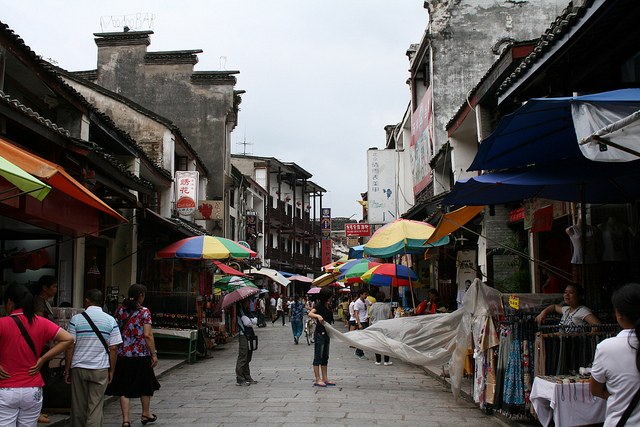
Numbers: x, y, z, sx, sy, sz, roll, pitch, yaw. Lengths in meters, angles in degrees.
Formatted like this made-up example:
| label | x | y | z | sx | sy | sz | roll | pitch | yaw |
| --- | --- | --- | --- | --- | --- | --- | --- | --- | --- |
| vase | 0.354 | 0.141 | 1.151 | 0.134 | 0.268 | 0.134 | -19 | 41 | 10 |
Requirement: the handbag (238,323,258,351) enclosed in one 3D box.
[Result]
| label | x | y | z | sx | sy | sz | roll | pitch | yaw |
| --- | --- | --- | --- | --- | --- | --- | --- | --- | --- |
| handbag | -1.578 | 2.758 | 15.458 | 0.395 | 0.563 | 0.336 | 4 | -12 | -22 |

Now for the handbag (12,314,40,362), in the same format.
| label | x | y | z | sx | sy | sz | roll | pitch | yaw |
| --- | --- | --- | --- | --- | --- | --- | --- | --- | --- |
| handbag | -4.118 | 1.755 | 9.727 | 0.080 | 0.761 | 0.076 | -30 | 11 | 49 |

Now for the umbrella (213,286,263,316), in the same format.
| label | x | y | z | sx | sy | sz | roll | pitch | yaw |
| --- | --- | --- | --- | --- | --- | --- | --- | --- | --- |
| umbrella | -2.037 | 2.059 | 17.323 | 0.822 | 0.482 | 0.821 | -40 | -20 | 32 |

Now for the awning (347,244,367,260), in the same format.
| label | x | y | z | sx | sy | sz | roll | pitch | yaw |
| --- | --- | --- | --- | --- | --- | --- | --- | --- | --- |
| awning | 1.246 | 1.306 | 24.306 | 0.583 | 0.285 | 0.604 | -5 | -40 | -11 |

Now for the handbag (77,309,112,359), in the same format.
| label | x | y | z | sx | sy | sz | roll | pitch | yaw |
| --- | --- | --- | --- | --- | --- | --- | --- | --- | --- |
| handbag | -3.617 | 1.952 | 11.142 | 0.091 | 0.899 | 0.129 | -36 | -6 | -22 |
